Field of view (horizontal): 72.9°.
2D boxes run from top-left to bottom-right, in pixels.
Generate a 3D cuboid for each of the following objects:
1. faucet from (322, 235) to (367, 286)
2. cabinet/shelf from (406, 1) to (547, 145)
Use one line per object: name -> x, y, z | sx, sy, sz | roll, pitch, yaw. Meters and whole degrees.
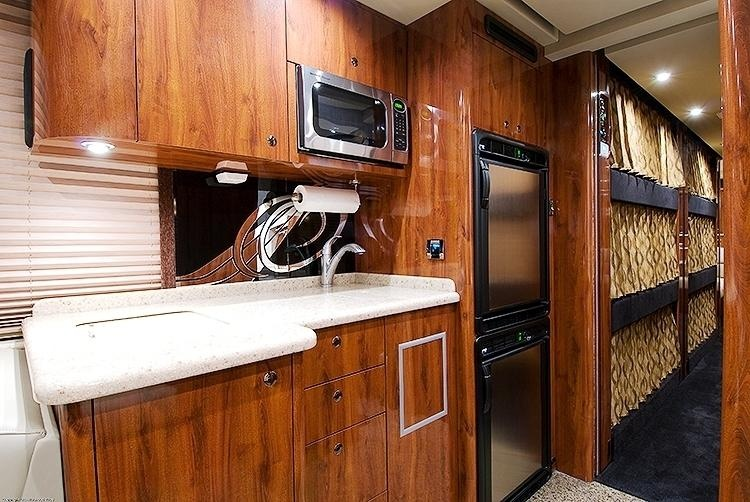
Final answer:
faucet -> -0.220, 0.066, 3.254 | 0.184, 0.311, 0.269 | -3, 5, -40
cabinet/shelf -> 0.670, -1.039, 3.135 | 0.867, 0.874, 0.402 | -1, 4, -19
